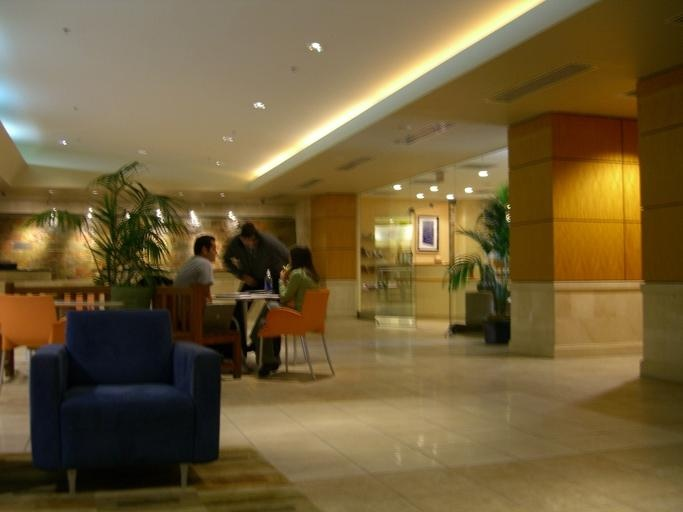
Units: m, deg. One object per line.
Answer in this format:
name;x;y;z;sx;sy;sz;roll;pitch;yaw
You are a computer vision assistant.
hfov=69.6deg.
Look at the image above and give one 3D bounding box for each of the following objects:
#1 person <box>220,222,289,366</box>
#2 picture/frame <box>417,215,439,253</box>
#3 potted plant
person;-1.149;0.424;7.159;0.990;1.999;0.938;1;15;12
picture/frame;1.857;-0.484;10.394;0.068;1.091;0.712;-2;4;-41
potted plant;2.238;0.137;7.773;0.784;2.462;0.312;-1;-3;13
